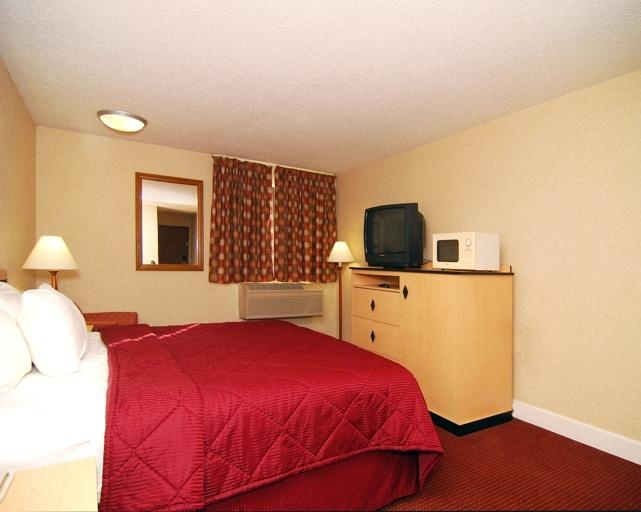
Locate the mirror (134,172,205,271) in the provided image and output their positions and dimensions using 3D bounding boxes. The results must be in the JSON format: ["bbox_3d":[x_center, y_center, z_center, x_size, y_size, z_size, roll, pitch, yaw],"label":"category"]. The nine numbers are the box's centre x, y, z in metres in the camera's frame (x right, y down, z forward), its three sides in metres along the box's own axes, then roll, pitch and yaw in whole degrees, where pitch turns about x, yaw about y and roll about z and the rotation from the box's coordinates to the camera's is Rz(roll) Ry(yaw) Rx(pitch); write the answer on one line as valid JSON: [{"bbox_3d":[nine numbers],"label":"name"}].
[{"bbox_3d":[-1.671,-0.355,5.372,0.742,1.106,0.047,2,-10,-29],"label":"mirror"}]

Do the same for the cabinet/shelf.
[{"bbox_3d":[0.946,0.729,4.590,0.638,1.317,1.561,-3,5,-31],"label":"cabinet/shelf"}]

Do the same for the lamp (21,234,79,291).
[{"bbox_3d":[-2.424,0.122,4.368,0.408,0.639,0.421,8,12,26],"label":"lamp"}]

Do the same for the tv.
[{"bbox_3d":[0.806,-0.186,4.996,0.408,0.654,0.674,0,0,-41],"label":"tv"}]

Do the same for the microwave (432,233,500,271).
[{"bbox_3d":[1.268,-0.033,4.226,0.368,0.326,0.498,2,-1,-27],"label":"microwave"}]
